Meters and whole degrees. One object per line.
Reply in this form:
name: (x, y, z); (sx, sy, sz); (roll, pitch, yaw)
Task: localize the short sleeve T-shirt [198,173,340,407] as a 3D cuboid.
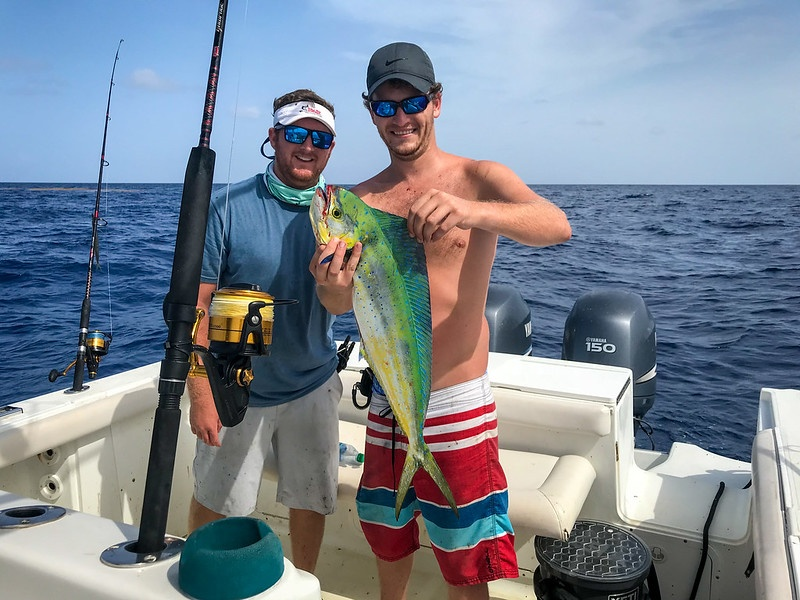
short sleeve T-shirt: (-0.569, -0.068, 3.196); (0.862, 1.194, 0.433); (-14, 35, -29)

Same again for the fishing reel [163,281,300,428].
fishing reel: (-0.673, 0.206, 2.296); (0.450, 0.535, 0.313); (3, 0, -32)

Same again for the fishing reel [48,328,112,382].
fishing reel: (-1.942, 0.357, 3.771); (0.551, 0.243, 0.159); (-8, -21, 16)

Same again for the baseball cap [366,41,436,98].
baseball cap: (0.004, -1.017, 2.641); (0.302, 0.181, 0.388); (-10, 21, -12)
